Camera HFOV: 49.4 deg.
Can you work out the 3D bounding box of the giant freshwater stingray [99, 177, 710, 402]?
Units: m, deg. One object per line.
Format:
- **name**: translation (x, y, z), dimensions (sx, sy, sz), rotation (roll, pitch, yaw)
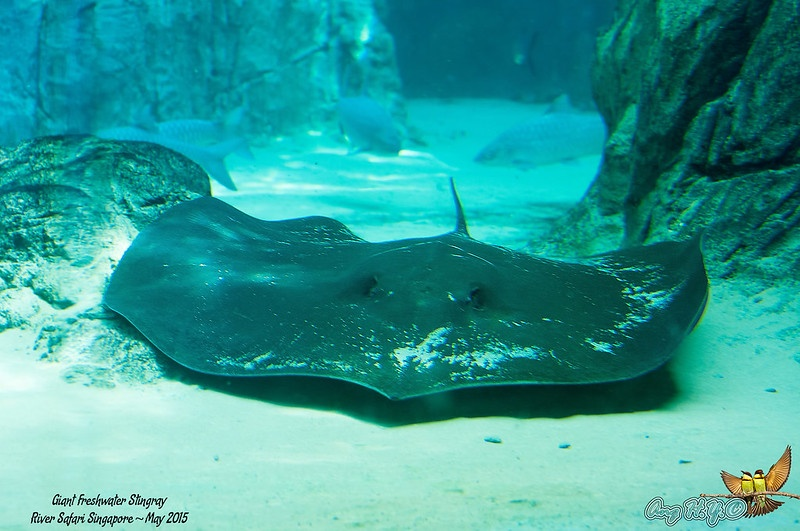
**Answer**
- **giant freshwater stingray**: translation (0.001, 0.117, 5.938), dimensions (3.841, 1.782, 0.859), rotation (-3, -25, 6)
